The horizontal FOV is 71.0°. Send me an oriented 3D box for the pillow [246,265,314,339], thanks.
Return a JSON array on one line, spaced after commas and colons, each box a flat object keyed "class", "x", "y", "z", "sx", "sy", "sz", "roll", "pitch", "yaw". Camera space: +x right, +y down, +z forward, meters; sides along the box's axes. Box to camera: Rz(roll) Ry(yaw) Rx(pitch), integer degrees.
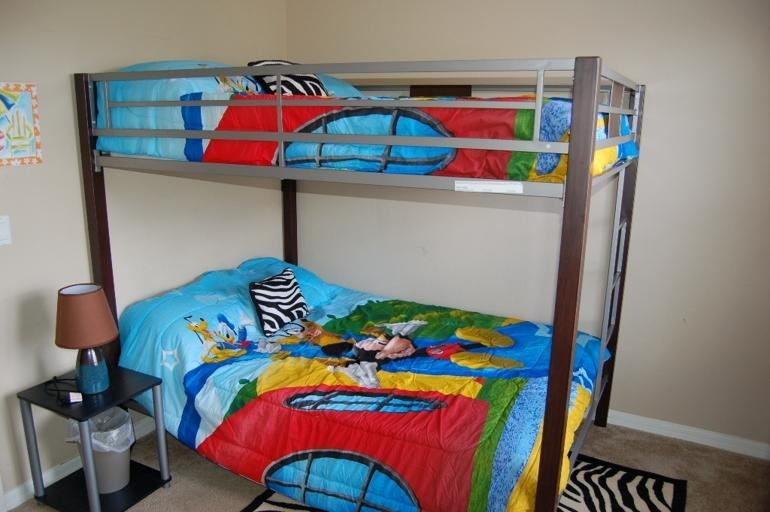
[{"class": "pillow", "x": -0.828, "y": 0.349, "z": 4.045, "sx": 0.138, "sy": 0.402, "sz": 0.471, "roll": -30, "pitch": -6, "yaw": 29}]
